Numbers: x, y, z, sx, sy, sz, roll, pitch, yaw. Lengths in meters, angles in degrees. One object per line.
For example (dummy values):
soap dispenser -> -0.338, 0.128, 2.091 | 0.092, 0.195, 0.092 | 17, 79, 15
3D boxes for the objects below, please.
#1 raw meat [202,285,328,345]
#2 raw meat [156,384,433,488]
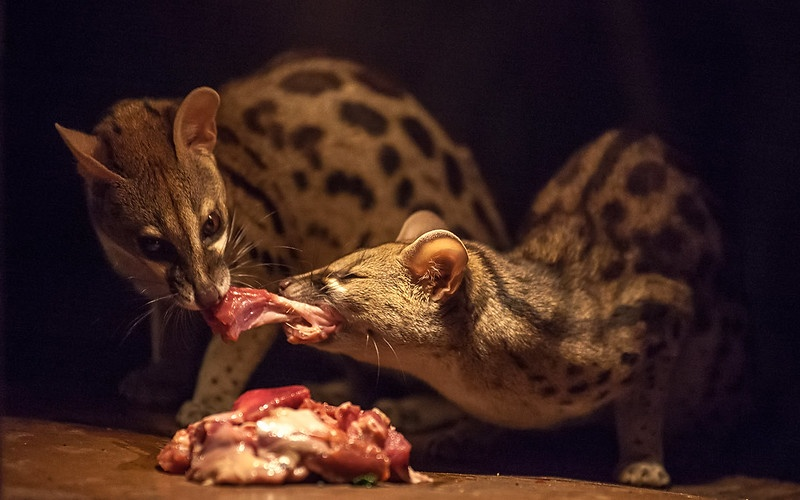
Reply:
raw meat -> -0.831, 0.413, 6.175 | 0.874, 0.392, 0.525 | 1, 24, -5
raw meat -> -0.692, 1.178, 5.922 | 1.639, 0.563, 0.342 | 7, 1, 0
